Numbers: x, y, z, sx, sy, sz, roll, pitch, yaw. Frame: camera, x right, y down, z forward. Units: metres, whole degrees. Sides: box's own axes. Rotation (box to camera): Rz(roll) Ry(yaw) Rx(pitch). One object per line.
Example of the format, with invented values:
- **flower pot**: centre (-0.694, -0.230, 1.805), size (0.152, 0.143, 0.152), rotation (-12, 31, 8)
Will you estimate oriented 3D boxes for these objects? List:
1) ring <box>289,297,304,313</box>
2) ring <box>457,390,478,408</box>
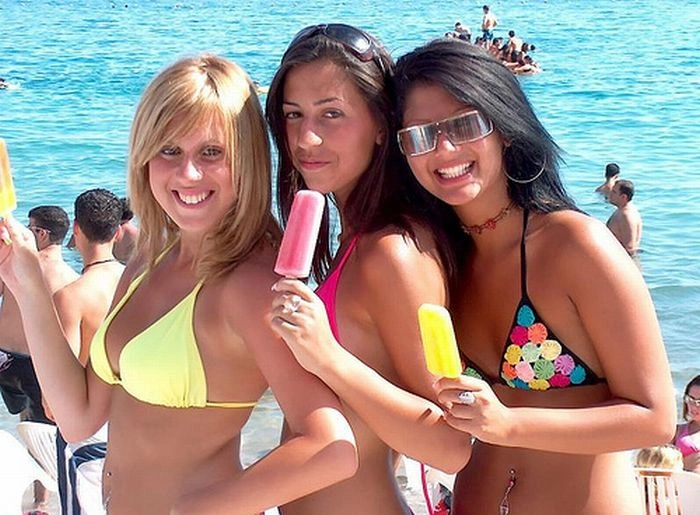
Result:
- **ring**: centre (-0.217, 0.192, 2.627), size (0.061, 0.060, 0.017), rotation (0, -4, 2)
- **ring**: centre (0.471, 0.571, 2.657), size (0.066, 0.056, 0.019), rotation (-3, 12, 4)
